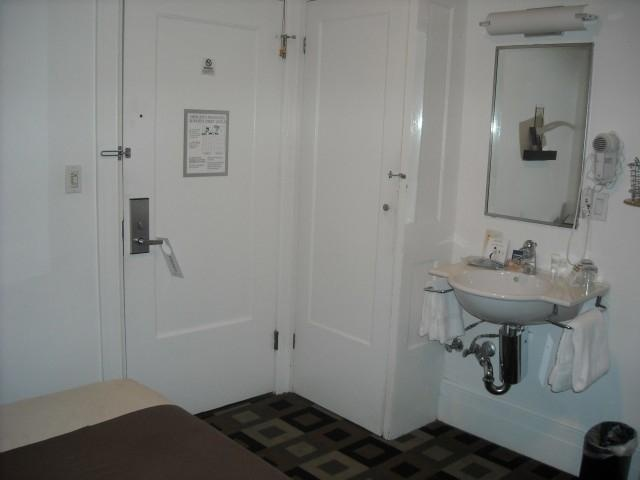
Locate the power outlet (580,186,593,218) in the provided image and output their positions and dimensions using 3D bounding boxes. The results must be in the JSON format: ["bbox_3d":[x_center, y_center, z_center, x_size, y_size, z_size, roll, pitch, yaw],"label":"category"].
[{"bbox_3d":[1.406,-0.199,2.587,0.033,0.128,0.087,4,5,-33],"label":"power outlet"}]

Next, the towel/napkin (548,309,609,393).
[{"bbox_3d":[1.341,0.561,2.496,0.383,0.367,0.181,-10,12,-37],"label":"towel/napkin"}]

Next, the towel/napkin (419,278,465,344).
[{"bbox_3d":[0.706,0.386,2.796,0.253,0.329,0.177,-8,10,-35],"label":"towel/napkin"}]
